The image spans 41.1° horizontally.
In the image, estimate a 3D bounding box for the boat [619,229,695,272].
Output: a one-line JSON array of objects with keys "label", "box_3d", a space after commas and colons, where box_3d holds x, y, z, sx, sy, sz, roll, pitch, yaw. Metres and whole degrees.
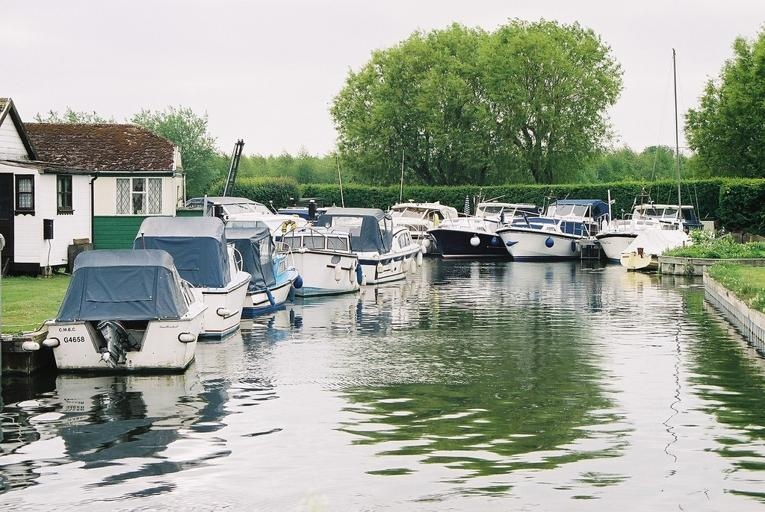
[{"label": "boat", "box_3d": [12.390, -0.206, 46.770, 2.816, 2.004, 2.008, 2, 11, 11]}]

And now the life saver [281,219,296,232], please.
[{"label": "life saver", "box_3d": [-3.800, -1.245, 41.515, 0.549, 0.292, 0.897, -1, 1, -3]}]

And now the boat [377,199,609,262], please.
[{"label": "boat", "box_3d": [9.059, -1.471, 58.798, 10.607, 3.802, 4.906, 0, 2, 28]}]
